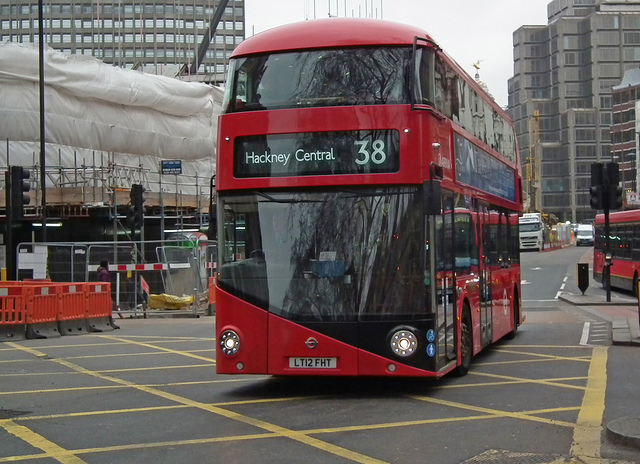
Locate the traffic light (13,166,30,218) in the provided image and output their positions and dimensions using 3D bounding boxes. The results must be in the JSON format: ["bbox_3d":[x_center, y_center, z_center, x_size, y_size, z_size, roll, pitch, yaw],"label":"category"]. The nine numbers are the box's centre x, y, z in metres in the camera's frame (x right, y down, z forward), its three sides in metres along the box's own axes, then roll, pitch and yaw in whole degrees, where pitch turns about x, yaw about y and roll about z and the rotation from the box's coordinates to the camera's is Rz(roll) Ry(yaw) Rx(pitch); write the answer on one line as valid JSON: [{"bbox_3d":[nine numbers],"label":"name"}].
[{"bbox_3d":[-8.730,-1.202,22.068,0.458,1.561,0.700,-1,0,-24],"label":"traffic light"}]

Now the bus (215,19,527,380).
[{"bbox_3d":[1.237,-0.395,12.248,2.796,5.109,5.847,-1,0,35],"label":"bus"}]

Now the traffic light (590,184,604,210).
[{"bbox_3d":[8.834,-1.153,24.048,0.418,0.713,0.682,-1,0,21],"label":"traffic light"}]

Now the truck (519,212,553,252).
[{"bbox_3d":[22.169,-0.005,78.521,2.562,4.435,8.189,-3,-1,22],"label":"truck"}]

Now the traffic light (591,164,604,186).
[{"bbox_3d":[8.932,-1.846,24.235,0.382,0.625,0.493,-1,0,20],"label":"traffic light"}]

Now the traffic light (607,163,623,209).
[{"bbox_3d":[9.606,-1.548,24.577,0.413,1.292,2.538,-1,0,21],"label":"traffic light"}]

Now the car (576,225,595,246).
[{"bbox_3d":[29.454,0.326,83.647,1.683,2.224,3.869,-1,-6,21],"label":"car"}]
